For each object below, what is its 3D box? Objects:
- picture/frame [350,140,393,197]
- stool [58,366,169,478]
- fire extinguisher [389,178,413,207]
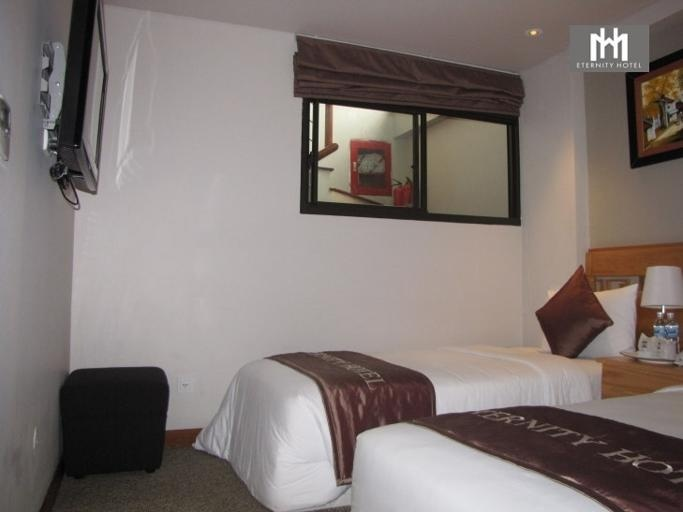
[{"bbox_3d":[0.232,-0.763,4.421,0.441,0.576,0.092,0,2,-22],"label":"picture/frame"},{"bbox_3d":[-1.448,0.981,3.258,0.583,0.656,0.594,6,-11,-37],"label":"stool"},{"bbox_3d":[0.520,-0.528,4.524,0.215,0.302,0.201,3,-7,-25],"label":"fire extinguisher"}]
